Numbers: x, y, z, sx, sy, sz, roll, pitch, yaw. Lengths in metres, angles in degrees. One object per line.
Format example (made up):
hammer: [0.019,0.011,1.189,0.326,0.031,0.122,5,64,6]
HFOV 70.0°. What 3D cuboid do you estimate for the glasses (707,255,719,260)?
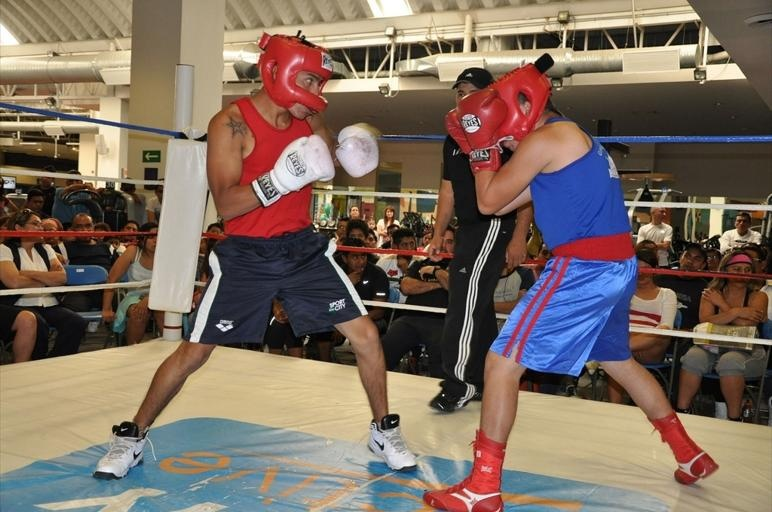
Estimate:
glasses: [2.884,0.007,4.884,0.082,0.056,0.102,0,-9,12]

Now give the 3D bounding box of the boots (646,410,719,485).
boots: [1.232,0.797,2.326,0.137,0.264,0.276,-31,-27,-2]

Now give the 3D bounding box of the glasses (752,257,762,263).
glasses: [2.795,0.035,4.186,0.040,0.036,0.012,-2,5,27]

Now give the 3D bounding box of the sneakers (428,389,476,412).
sneakers: [0.372,0.761,2.892,0.279,0.113,0.096,4,-2,-17]

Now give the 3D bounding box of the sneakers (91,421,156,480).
sneakers: [-1.049,0.763,2.167,0.146,0.146,0.340,10,1,-4]

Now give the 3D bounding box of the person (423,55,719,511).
person: [0.708,0.100,2.082,1.002,1.669,0.532,4,10,5]

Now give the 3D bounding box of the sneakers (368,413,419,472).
sneakers: [0.024,0.771,2.304,0.111,0.167,0.298,-3,10,-31]

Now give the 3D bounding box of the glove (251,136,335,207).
glove: [-0.378,-0.318,2.210,0.362,0.199,0.142,-27,-8,12]

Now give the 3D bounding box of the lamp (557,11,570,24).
lamp: [2.663,-3.612,8.393,0.231,0.160,0.179,0,-6,4]

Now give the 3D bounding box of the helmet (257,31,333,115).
helmet: [-0.375,-0.747,2.237,0.294,0.324,0.259,2,10,-5]

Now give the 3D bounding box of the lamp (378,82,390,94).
lamp: [-0.040,-3.065,10.137,0.154,0.159,0.216,-1,-10,2]
